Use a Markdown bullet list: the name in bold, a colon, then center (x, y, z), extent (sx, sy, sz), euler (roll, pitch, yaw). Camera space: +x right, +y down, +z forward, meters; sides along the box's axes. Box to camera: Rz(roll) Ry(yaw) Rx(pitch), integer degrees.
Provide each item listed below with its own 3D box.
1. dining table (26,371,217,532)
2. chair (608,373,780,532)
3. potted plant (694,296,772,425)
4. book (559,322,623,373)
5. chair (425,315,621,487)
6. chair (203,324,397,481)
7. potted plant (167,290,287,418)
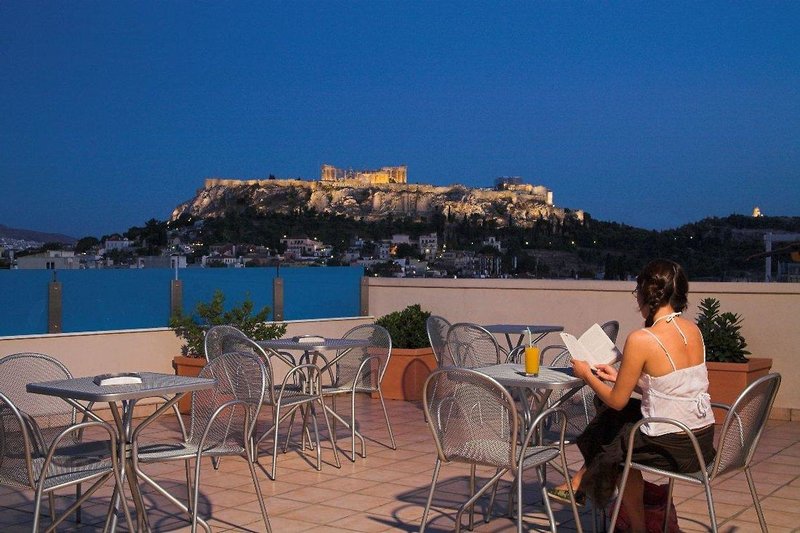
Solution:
- **dining table**: center (-1.924, 1.277, 5.952), extent (1.167, 1.206, 1.199), euler (-1, -1, 31)
- **chair**: center (2.001, 1.271, 5.601), extent (1.066, 1.112, 0.518), euler (0, 1, 9)
- **potted plant**: center (3.502, 1.063, 9.180), extent (0.826, 1.220, 0.834), euler (1, -2, -34)
- **book**: center (1.338, 0.562, 5.964), extent (0.341, 0.358, 0.146), euler (-31, -39, 0)
- **chair**: center (0.776, 0.900, 6.258), extent (1.088, 1.324, 1.320), euler (4, 9, 35)
- **chair**: center (-0.884, 1.194, 8.020), extent (1.022, 1.265, 1.922), euler (-1, 0, 40)
- **potted plant**: center (-2.041, 0.807, 9.759), extent (1.224, 1.803, 1.562), euler (-1, 0, 24)
